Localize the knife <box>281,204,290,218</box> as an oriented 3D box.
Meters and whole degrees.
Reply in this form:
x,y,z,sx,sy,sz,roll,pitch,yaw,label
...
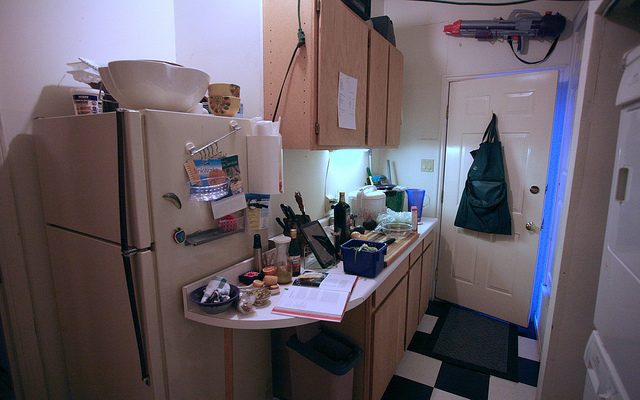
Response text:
x,y,z,sx,sy,sz,roll,pitch,yaw,label
-0.238,0.071,3.005,0.031,0.115,0.029,-3,27,44,knife

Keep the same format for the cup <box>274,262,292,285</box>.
x,y,z,sx,sy,sz,roll,pitch,yaw,label
-0.229,0.466,2.797,0.130,0.122,0.125,0,12,0,cup

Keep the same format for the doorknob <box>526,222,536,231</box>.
x,y,z,sx,sy,sz,roll,pitch,yaw,label
1.851,0.227,3.795,0.069,0.079,0.020,7,1,19,doorknob

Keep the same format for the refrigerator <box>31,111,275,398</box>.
x,y,z,sx,sy,sz,roll,pitch,yaw,label
-0.972,0.382,2.535,1.313,1.767,0.514,-4,13,-8,refrigerator

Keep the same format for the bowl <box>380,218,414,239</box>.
x,y,z,sx,sy,sz,roll,pitch,yaw,label
0.631,0.224,3.527,0.189,0.067,0.180,1,11,0,bowl

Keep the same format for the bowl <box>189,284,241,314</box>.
x,y,z,sx,sy,sz,roll,pitch,yaw,label
-0.603,0.572,2.517,0.190,0.070,0.192,4,17,-1,bowl

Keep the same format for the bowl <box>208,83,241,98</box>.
x,y,z,sx,sy,sz,roll,pitch,yaw,label
-0.589,-0.670,2.660,0.184,0.090,0.080,-4,13,-8,bowl

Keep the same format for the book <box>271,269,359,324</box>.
x,y,z,sx,sy,sz,roll,pitch,yaw,label
-0.017,0.594,2.646,0.319,0.040,0.411,6,23,15,book

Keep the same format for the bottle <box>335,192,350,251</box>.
x,y,z,sx,sy,sz,roll,pitch,yaw,label
0.164,0.181,3.202,0.078,0.326,0.197,8,16,39,bottle

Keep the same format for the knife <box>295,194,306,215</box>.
x,y,z,sx,sy,sz,roll,pitch,yaw,label
-0.144,0.022,3.108,0.044,0.172,0.019,-18,-11,-26,knife

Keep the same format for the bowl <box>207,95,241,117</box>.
x,y,z,sx,sy,sz,roll,pitch,yaw,label
-0.594,-0.575,2.652,0.144,0.080,0.148,1,12,0,bowl
